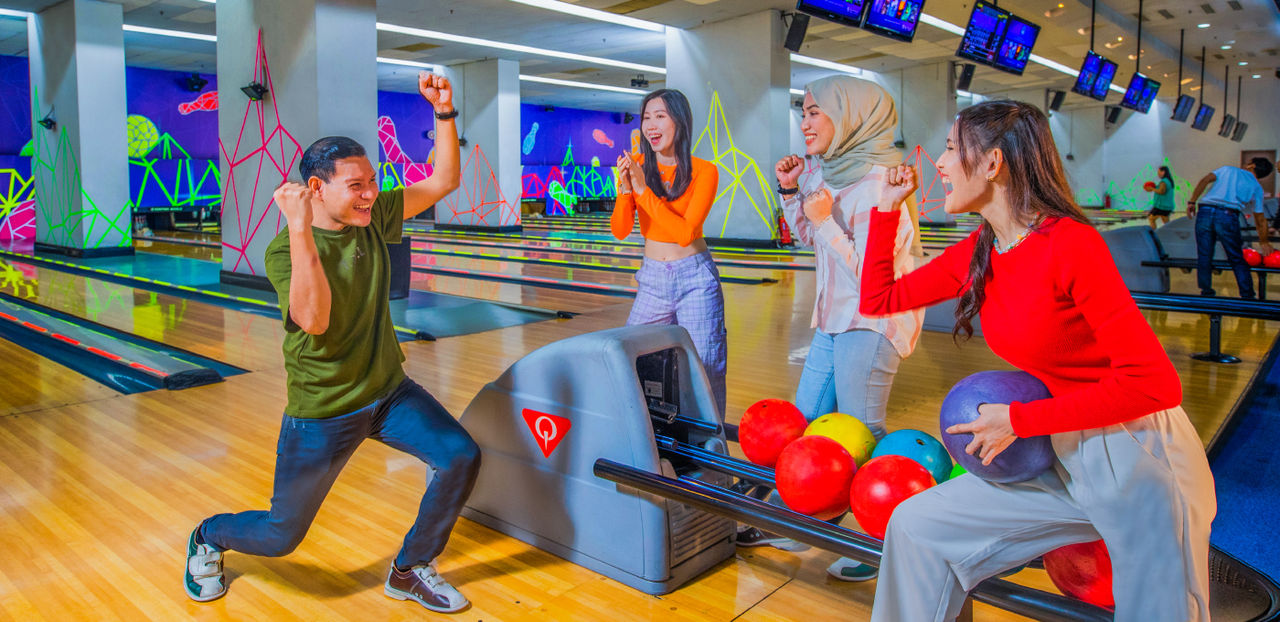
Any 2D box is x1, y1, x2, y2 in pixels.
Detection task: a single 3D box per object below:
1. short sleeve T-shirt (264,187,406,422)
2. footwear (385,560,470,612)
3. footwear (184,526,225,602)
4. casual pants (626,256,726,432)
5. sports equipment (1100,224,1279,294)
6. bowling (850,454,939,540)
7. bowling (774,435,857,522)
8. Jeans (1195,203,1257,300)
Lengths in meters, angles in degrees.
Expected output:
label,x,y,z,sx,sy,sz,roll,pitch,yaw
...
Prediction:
label,x,y,z,sx,sy,sz,roll,pitch,yaw
short sleeve T-shirt,-1.346,-0.043,3.078,0.601,1.018,0.434,-4,16,-29
footwear,-0.996,1.317,3.242,0.449,0.173,0.181,9,2,8
footwear,-2.113,1.212,3.270,0.173,0.156,0.388,8,24,-41
casual pants,0.215,0.345,3.674,0.457,0.234,0.741,-10,39,-3
sports equipment,5.727,-0.537,6.957,0.917,0.529,1.240,1,10,30
bowling,1.113,0.833,2.935,0.360,0.338,0.319,-8,6,-8
bowling,0.820,0.764,3.122,0.376,0.349,0.354,7,-8,20
Jeans,6.196,-0.627,7.086,0.339,1.079,0.528,-19,17,-11
